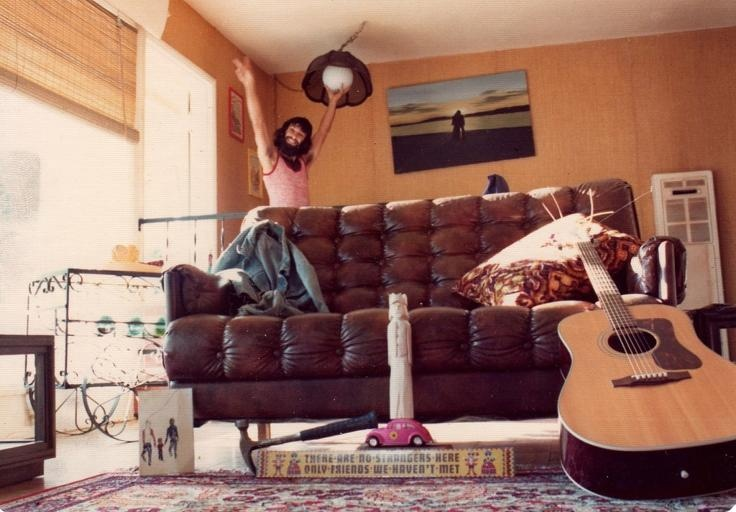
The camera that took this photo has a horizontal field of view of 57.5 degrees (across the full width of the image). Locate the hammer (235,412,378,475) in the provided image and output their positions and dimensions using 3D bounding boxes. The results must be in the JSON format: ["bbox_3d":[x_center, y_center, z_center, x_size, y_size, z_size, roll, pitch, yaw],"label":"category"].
[{"bbox_3d":[-0.254,0.774,2.766,0.641,0.099,0.228,-10,23,0],"label":"hammer"}]

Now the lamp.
[{"bbox_3d":[-0.259,-1.709,5.855,0.521,0.393,0.831,0,35,4],"label":"lamp"}]

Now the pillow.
[{"bbox_3d":[0.833,0.071,3.099,0.549,0.158,0.556,-16,17,48],"label":"pillow"}]
